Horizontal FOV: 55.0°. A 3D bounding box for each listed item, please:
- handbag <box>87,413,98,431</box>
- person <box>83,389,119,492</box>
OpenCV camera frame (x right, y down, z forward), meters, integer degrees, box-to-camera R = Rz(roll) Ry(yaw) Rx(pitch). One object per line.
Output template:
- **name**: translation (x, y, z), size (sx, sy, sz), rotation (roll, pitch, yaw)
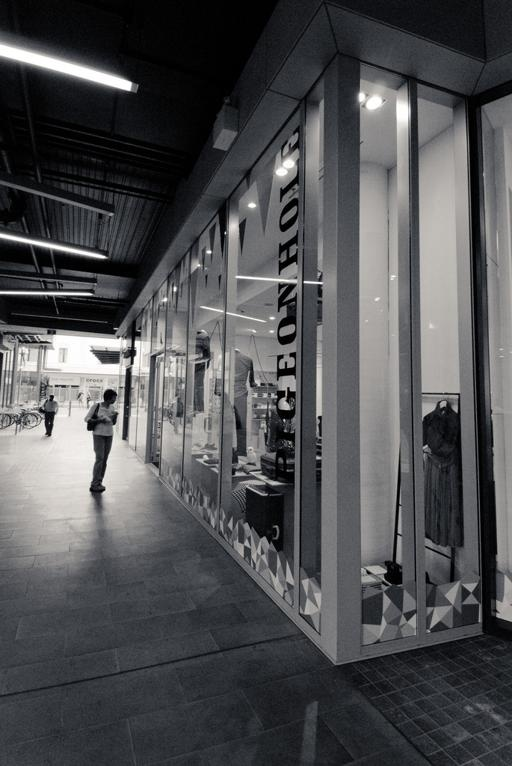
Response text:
- **handbag**: translation (-2.034, 0.481, 6.088), size (0.122, 0.356, 0.188), rotation (-1, 4, -23)
- **person**: translation (-1.938, 0.719, 6.127), size (0.342, 1.259, 0.823), rotation (1, -2, -18)
